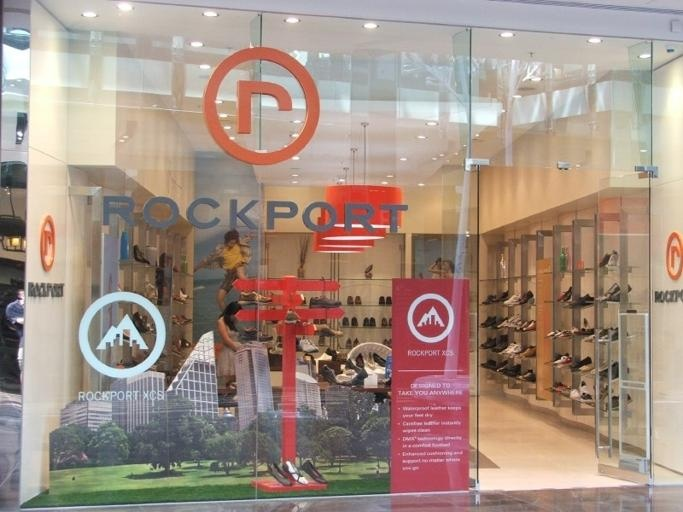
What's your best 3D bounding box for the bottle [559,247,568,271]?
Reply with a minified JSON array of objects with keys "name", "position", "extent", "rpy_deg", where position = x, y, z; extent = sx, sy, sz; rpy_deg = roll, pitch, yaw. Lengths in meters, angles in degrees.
[{"name":"bottle","position":[3.022,0.046,10.803],"extent":[0.104,0.318,0.181],"rpy_deg":[4,1,4]}]
